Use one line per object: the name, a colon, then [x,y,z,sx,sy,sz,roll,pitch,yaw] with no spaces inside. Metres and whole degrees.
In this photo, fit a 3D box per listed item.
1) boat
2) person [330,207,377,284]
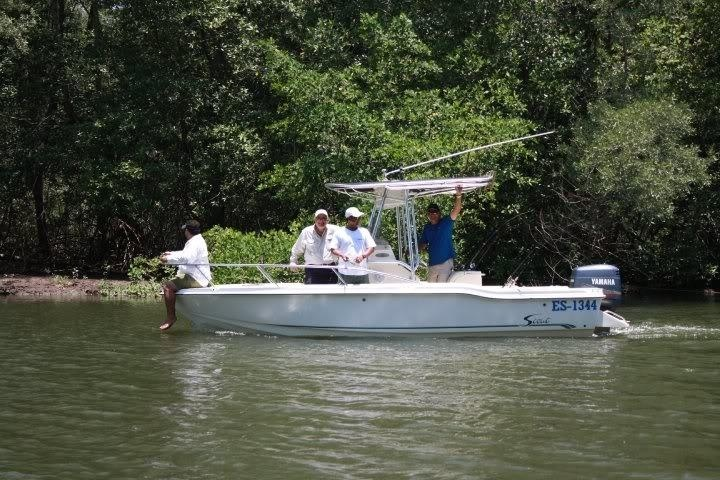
boat: [0.946,0.543,20.820,13.886,5.997,4.075,1,-6,-2]
person: [-0.181,0.155,17.841,0.949,1.747,0.987,9,17,35]
